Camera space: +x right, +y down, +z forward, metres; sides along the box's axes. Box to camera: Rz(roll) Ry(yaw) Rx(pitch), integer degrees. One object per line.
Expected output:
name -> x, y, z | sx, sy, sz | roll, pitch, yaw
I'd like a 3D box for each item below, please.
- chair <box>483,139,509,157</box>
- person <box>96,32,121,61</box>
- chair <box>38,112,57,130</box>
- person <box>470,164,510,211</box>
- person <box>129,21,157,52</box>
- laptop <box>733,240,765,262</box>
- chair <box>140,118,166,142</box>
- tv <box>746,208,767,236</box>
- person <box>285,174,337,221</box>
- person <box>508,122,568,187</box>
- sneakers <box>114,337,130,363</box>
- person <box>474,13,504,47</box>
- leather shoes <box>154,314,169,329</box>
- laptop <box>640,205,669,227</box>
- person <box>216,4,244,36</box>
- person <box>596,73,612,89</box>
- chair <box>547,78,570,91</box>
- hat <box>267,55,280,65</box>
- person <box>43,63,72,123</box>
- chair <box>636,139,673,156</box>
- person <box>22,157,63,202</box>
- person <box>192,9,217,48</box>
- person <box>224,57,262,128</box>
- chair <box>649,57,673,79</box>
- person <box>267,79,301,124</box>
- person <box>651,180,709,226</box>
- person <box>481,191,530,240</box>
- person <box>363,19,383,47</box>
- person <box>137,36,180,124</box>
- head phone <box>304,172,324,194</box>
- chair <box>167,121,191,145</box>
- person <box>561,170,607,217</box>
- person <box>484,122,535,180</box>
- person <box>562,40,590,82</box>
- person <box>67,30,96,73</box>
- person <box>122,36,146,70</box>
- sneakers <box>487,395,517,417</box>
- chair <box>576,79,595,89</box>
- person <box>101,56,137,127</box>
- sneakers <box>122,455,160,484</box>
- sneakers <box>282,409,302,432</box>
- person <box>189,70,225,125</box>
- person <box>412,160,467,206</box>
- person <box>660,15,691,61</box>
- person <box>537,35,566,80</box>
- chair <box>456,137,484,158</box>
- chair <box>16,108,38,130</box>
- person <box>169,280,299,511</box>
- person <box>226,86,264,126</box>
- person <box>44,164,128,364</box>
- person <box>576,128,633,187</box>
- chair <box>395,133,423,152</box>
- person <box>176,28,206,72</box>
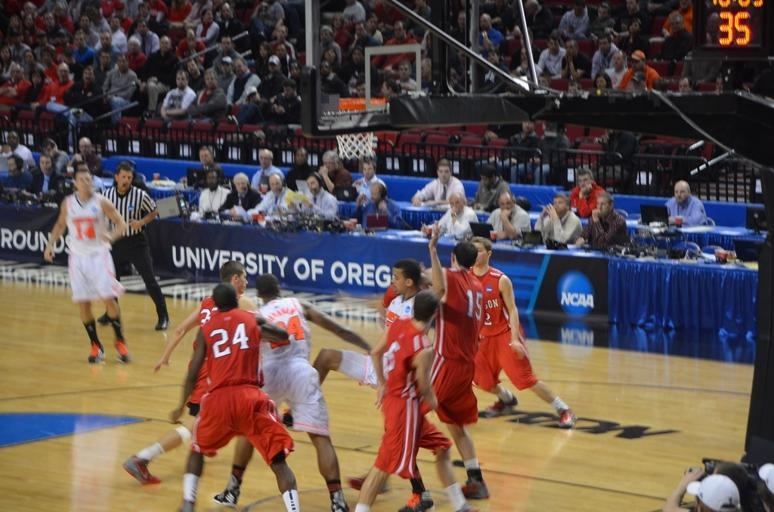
chair -> 2.083, -2.045, 18.529 | 0.355, 0.575, 0.410 | 5, 3, 44
person -> -6.775, -5.119, 23.835 | 0.439, 0.736, 1.122 | -2, 3, -26
chair -> -7.833, -3.150, 22.670 | 0.407, 0.654, 0.431 | 1, -3, -20
person -> 1.779, -1.172, 16.864 | 0.601, 1.056, 0.835 | -4, 17, -10
person -> -5.955, -5.274, 23.920 | 0.697, 1.064, 0.526 | -2, 10, -13
laptop -> 5.215, -0.078, 14.013 | 0.262, 0.319, 0.443 | -3, 3, -37
chair -> -5.137, -2.842, 21.757 | 0.488, 0.592, 1.190 | -2, 2, -18
tv -> 5.541, -0.546, 14.675 | 0.251, 0.393, 0.600 | -2, 2, -13
person -> -1.219, -1.013, 16.761 | 0.859, 0.815, 0.744 | -1, 2, 6
person -> 2.781, -1.884, 17.943 | 1.127, 1.131, 0.757 | 0, 3, 24
sneakers -> -3.673, 1.327, 13.485 | 0.121, 0.425, 0.270 | -14, -13, -16
person -> 2.237, -4.871, 20.931 | 0.461, 0.930, 1.449 | -1, 2, 12
leather shoes -> -3.355, 1.016, 14.743 | 0.131, 0.269, 0.239 | -2, 5, -34
laptop -> 4.102, -0.682, 14.995 | 0.363, 0.293, 0.270 | 3, 7, 31
person -> -3.786, -5.750, 23.597 | 0.356, 0.917, 0.953 | -3, 3, -38
person -> 3.851, -3.162, 17.389 | 0.268, 0.347, 0.957 | -1, 3, 15
chair -> 3.345, -3.379, 19.007 | 0.387, 0.303, 0.795 | -1, 2, 12
hat -> -2.410, -4.284, 21.064 | 0.209, 0.319, 0.264 | 2, -1, 21
person -> -7.839, -4.030, 23.713 | 0.685, 1.341, 0.716 | 2, 5, -6
chair -> 4.827, -1.949, 17.443 | 0.386, 0.381, 0.388 | -6, 11, -37
person -> -6.507, -1.498, 18.788 | 0.679, 1.163, 1.151 | 0, 6, -2
person -> -4.393, -5.465, 23.843 | 0.542, 1.087, 0.531 | 8, 14, 19
person -> -3.100, -3.496, 21.399 | 0.639, 1.705, 0.731 | -7, -20, 0
chair -> 5.327, -3.610, 18.791 | 0.356, 0.347, 0.397 | 7, 15, 11
person -> -2.096, -3.157, 20.572 | 0.663, 1.098, 0.634 | 12, 23, 0
person -> 4.618, -0.810, 15.471 | 0.571, 0.909, 0.800 | -5, -3, 38
person -> 2.003, -0.611, 15.642 | 0.750, 0.997, 0.671 | 1, 11, 31
person -> -0.267, -4.872, 21.146 | 0.420, 0.825, 0.757 | -3, 17, 1
person -> -5.311, -4.203, 22.923 | 0.739, 2.037, 0.992 | 8, 6, -12
head phone -> -1.210, -1.267, 16.899 | 0.241, 0.360, 0.357 | -8, 7, 9
chair -> -4.472, -2.640, 21.401 | 0.445, 0.692, 0.590 | 1, 23, -3
person -> 3.214, -1.023, 15.957 | 0.557, 0.780, 0.801 | 11, 22, 41
person -> 2.297, -1.831, 18.372 | 0.605, 1.303, 0.480 | 11, -14, -14
person -> 3.694, -3.861, 19.323 | 0.695, 0.883, 0.569 | -15, 17, -41
person -> -7.566, -5.068, 24.311 | 0.679, 1.148, 0.576 | 3, 9, -9
person -> -6.008, -4.811, 23.445 | 0.541, 0.864, 0.436 | -3, 0, -7
sneakers -> 1.372, 1.818, 11.695 | 0.429, 0.228, 0.170 | -4, -15, -18
chair -> 3.809, -3.335, 18.700 | 0.279, 0.221, 0.566 | -1, 2, 11
person -> -6.249, -4.042, 22.832 | 0.834, 1.267, 0.553 | -1, 3, 15
sneakers -> -2.504, 2.214, 10.015 | 0.300, 0.204, 0.103 | 42, 3, -20
sneakers -> -0.894, 1.573, 9.296 | 0.119, 0.190, 0.399 | -2, -20, -6
person -> -3.957, -3.394, 21.465 | 0.745, 1.385, 0.609 | -4, 17, -42
person -> 0.933, -1.215, 16.897 | 0.621, 0.786, 0.859 | -2, 0, -1
person -> 5.533, -4.220, 18.743 | 0.522, 0.930, 0.463 | -1, 3, 16
person -> 3.322, -3.967, 19.621 | 0.666, 1.045, 0.618 | -5, 12, -14
chair -> 1.624, -2.148, 18.848 | 0.392, 0.595, 0.448 | 3, 2, 22
chair -> -8.466, -3.284, 23.102 | 0.516, 0.591, 1.683 | -2, 2, -20
person -> -1.351, 1.308, 8.884 | 1.057, 2.066, 0.308 | -1, 2, -1
person -> -3.018, -3.257, 21.235 | 0.740, 0.858, 0.843 | -1, 2, 1
person -> -4.007, 0.127, 13.319 | 0.909, 2.721, 0.496 | -2, 3, -17
person -> 4.063, -1.731, 17.430 | 0.942, 1.439, 1.068 | 3, 7, 31
chair -> 0.461, -2.298, 19.547 | 0.353, 0.558, 0.528 | 1, -2, 7
person -> -4.715, -4.976, 23.528 | 0.734, 1.178, 0.816 | -6, 23, -9
